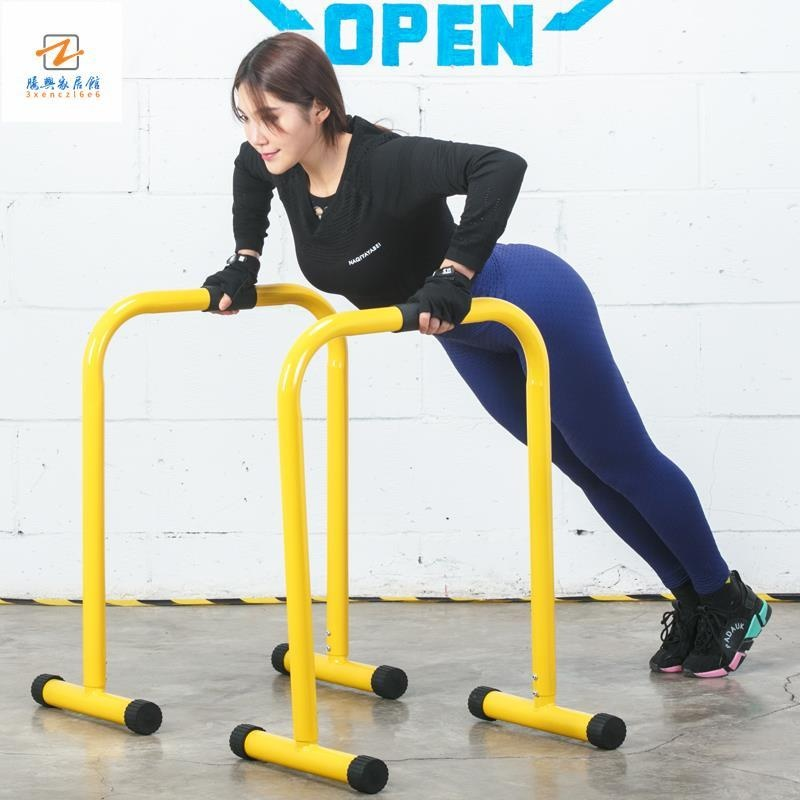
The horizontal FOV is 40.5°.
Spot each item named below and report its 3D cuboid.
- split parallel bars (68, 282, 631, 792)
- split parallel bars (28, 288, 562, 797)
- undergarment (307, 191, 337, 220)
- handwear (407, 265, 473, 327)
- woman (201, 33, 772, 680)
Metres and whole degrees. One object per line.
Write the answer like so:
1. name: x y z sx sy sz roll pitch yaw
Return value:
1. split parallel bars: -0.090 0.257 2.342 1.372 0.835 0.879 1 1 19
2. split parallel bars: -0.176 0.217 2.519 1.427 0.969 1.136 1 1 42
3. undergarment: -0.149 -0.380 2.096 0.055 0.051 0.023 -6 -19 22
4. handwear: 0.070 -0.184 1.899 0.070 0.109 0.131 2 3 38
5. woman: 0.218 -0.033 2.328 1.391 1.247 0.821 4 1 -18
